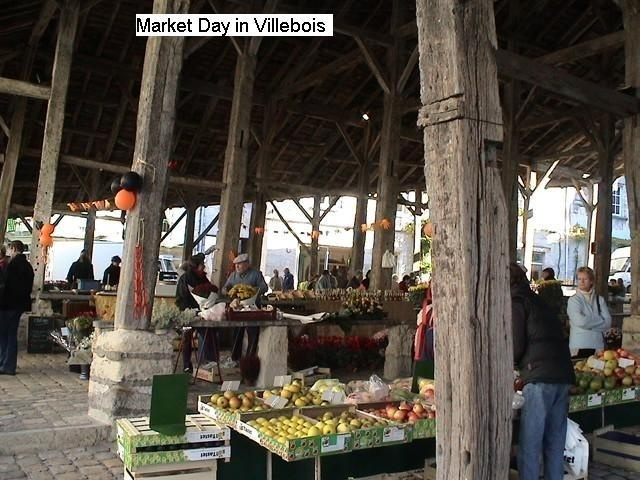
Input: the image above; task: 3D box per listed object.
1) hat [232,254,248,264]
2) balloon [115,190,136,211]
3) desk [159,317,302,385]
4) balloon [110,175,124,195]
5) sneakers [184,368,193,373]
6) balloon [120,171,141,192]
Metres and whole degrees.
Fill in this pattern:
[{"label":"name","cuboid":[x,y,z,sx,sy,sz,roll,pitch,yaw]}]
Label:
[{"label":"hat","cuboid":[-1.153,0.278,7.340,0.188,0.157,0.324,3,-7,-4]},{"label":"balloon","cuboid":[-1.912,-0.378,4.846,0.178,0.219,0.184,10,0,-8]},{"label":"desk","cuboid":[-0.806,1.429,6.892,1.425,0.630,1.451,13,-14,-20]},{"label":"balloon","cuboid":[-2.002,-0.536,4.861,0.148,0.185,0.154,4,3,-7]},{"label":"sneakers","cuboid":[-1.837,1.798,6.904,0.101,0.054,0.145,1,-2,-1]},{"label":"balloon","cuboid":[-1.804,-0.567,4.790,0.200,0.215,0.127,6,-8,-28]}]
